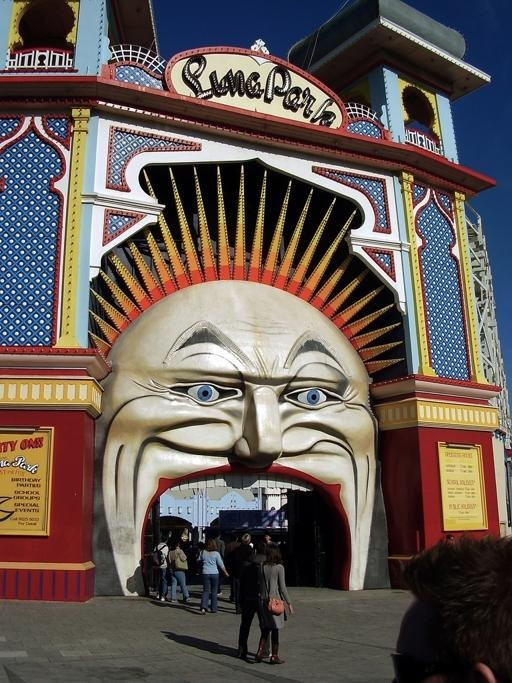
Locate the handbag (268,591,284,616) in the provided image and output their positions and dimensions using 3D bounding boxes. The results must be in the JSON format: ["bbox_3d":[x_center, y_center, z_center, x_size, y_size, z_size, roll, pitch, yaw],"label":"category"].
[{"bbox_3d":[0.215,2.806,6.978,0.165,0.192,0.210,4,-10,-13],"label":"handbag"}]
